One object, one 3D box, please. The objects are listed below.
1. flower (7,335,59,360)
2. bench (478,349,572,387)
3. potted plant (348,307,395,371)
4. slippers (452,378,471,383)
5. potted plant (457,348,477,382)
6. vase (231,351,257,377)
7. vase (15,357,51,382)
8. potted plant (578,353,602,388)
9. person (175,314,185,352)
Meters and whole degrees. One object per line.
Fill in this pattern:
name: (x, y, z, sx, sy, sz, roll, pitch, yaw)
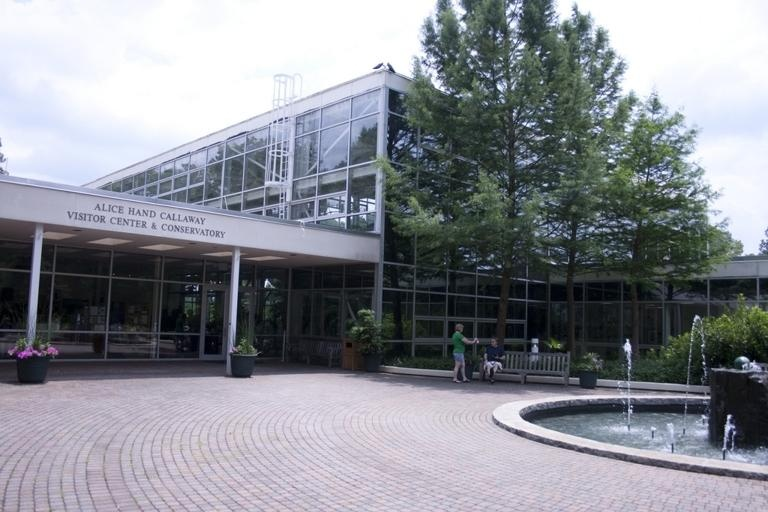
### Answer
flower: (-9.757, 2.583, 17.762, 1.061, 0.678, 0.911, 3, -2, -17)
bench: (4.693, 3.810, 21.464, 0.814, 1.020, 3.220, 2, -7, -43)
potted plant: (-0.006, 3.360, 24.594, 2.169, 2.198, 2.309, 4, -9, 13)
slippers: (2.664, 4.193, 21.366, 0.583, 0.173, 0.170, -2, -10, 7)
potted plant: (3.246, 4.038, 22.742, 0.968, 1.134, 0.857, 0, -3, -8)
vase: (-4.607, 3.620, 21.005, 0.986, 0.617, 0.831, 4, -13, -18)
vase: (-9.638, 3.141, 17.463, 0.794, 0.590, 0.882, 6, -14, -28)
potted plant: (6.720, 3.749, 20.667, 1.052, 1.124, 1.119, 4, -9, 5)
person: (-8.515, 3.209, 26.679, 0.166, 1.591, 0.429, 2, -2, 39)
